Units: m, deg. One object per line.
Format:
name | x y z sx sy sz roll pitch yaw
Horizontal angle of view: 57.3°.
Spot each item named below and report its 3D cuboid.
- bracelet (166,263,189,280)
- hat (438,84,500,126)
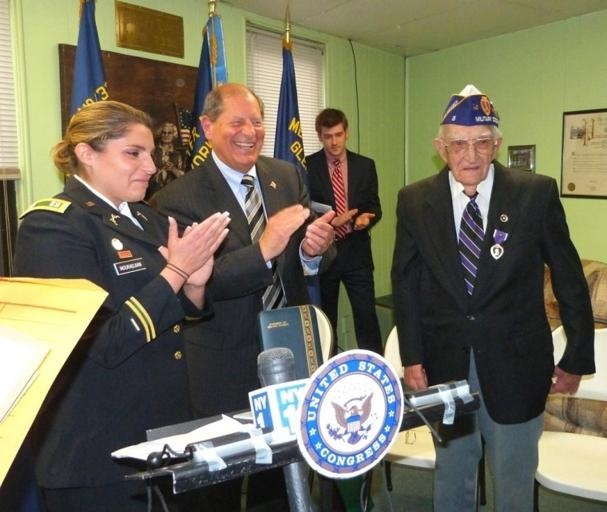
bracelet | -0.366 0.045 1.625 0.049 0.012 0.050 46 -10 -25
hat | 0.608 -0.542 2.038 0.132 0.111 0.202 1 11 13
